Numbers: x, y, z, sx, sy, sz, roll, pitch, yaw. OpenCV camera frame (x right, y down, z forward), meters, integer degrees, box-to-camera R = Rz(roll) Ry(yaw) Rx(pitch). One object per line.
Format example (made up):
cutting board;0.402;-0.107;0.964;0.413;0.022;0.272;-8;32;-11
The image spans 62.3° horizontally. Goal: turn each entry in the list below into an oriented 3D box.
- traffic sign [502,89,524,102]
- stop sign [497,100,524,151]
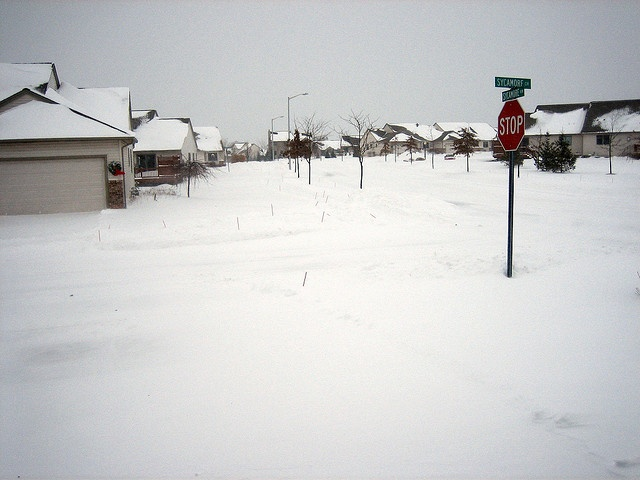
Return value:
traffic sign;3.637;-2.771;9.999;0.117;0.246;0.475;-5;14;-17
stop sign;3.608;-2.169;10.010;0.427;0.988;0.712;2;12;18
